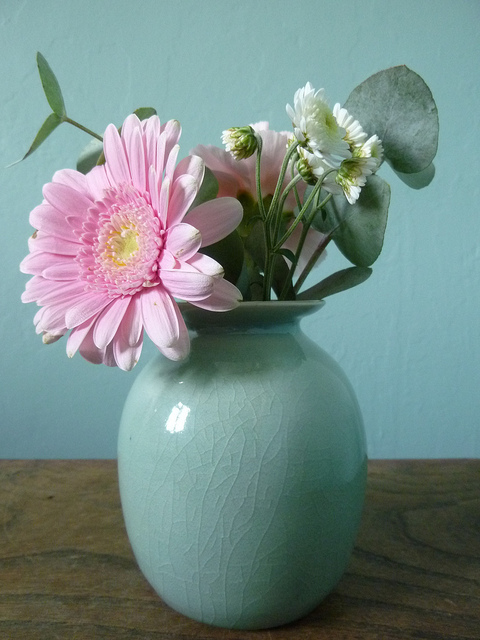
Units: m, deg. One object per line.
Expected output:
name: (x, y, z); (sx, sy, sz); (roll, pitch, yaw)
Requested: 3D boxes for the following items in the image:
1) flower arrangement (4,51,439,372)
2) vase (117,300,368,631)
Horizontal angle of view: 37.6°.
flower arrangement: (-0.011, -0.062, 0.454); (0.263, 0.181, 0.213); (5, 45, 10)
vase: (0.003, 0.096, 0.542); (0.227, 0.206, 0.251); (-1, 86, -1)
